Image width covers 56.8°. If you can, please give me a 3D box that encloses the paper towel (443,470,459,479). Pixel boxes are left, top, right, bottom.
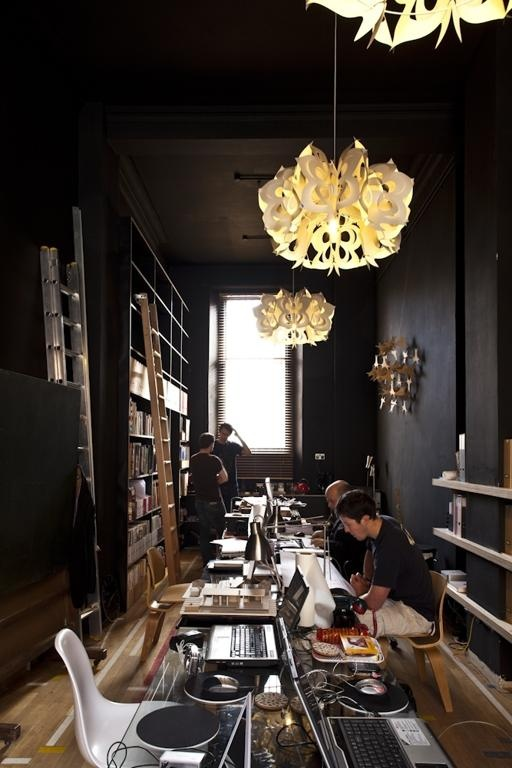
[{"bbox_3d":[1.426,0.684,3.496,0.105,0.052,0.189,-3,-5,25],"label":"paper towel"}]

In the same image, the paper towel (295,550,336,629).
[{"bbox_3d":[0.211,0.710,1.689,0.123,0.310,0.127,-8,12,20],"label":"paper towel"}]

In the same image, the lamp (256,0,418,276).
[{"bbox_3d":[0.308,-0.780,1.949,0.626,0.567,0.690,-2,-4,21],"label":"lamp"}]

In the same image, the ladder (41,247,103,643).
[{"bbox_3d":[-1.222,0.395,3.164,0.355,2.737,0.780,0,-3,-17],"label":"ladder"}]

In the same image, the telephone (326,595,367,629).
[{"bbox_3d":[0.323,0.816,1.690,0.081,0.065,0.144,0,-2,5],"label":"telephone"}]
